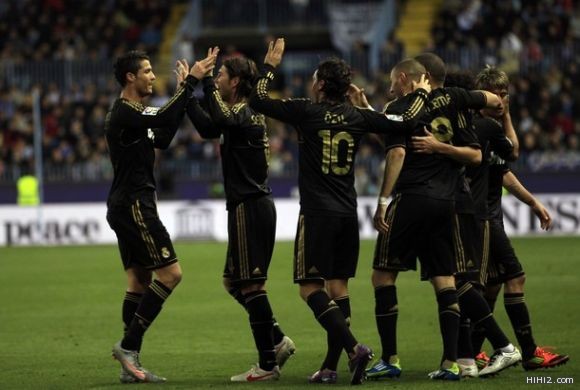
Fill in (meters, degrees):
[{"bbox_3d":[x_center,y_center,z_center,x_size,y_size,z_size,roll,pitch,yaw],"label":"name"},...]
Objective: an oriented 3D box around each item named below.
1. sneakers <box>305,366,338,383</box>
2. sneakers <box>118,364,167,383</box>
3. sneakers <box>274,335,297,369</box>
[{"bbox_3d":[0.437,2.446,12.546,0.381,0.148,0.167,1,-3,7],"label":"sneakers"},{"bbox_3d":[-1.959,2.407,12.562,0.686,0.274,0.219,0,1,-8],"label":"sneakers"},{"bbox_3d":[-0.042,2.170,13.014,0.258,0.525,0.180,43,34,21],"label":"sneakers"}]
